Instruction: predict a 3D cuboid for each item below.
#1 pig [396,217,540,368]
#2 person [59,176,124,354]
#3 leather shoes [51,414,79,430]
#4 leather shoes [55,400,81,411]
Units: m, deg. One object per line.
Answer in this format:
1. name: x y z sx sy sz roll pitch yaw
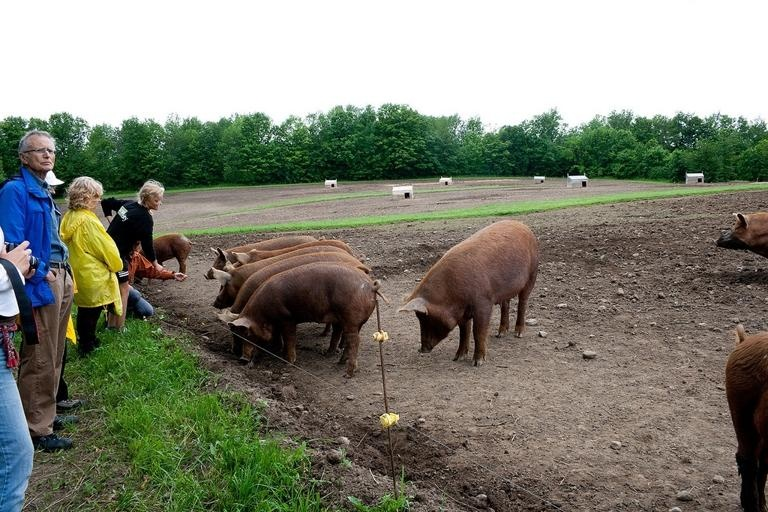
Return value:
1. pig: 1.624 0.748 10.738 1.251 2.174 3.858 3 15 45
2. person: -4.800 0.187 9.821 0.996 2.833 1.142 -1 10 -29
3. leather shoes: -4.262 2.217 7.981 0.345 0.145 0.123 -3 10 -10
4. leather shoes: -4.395 2.073 8.310 0.296 0.121 0.104 -3 11 -23
